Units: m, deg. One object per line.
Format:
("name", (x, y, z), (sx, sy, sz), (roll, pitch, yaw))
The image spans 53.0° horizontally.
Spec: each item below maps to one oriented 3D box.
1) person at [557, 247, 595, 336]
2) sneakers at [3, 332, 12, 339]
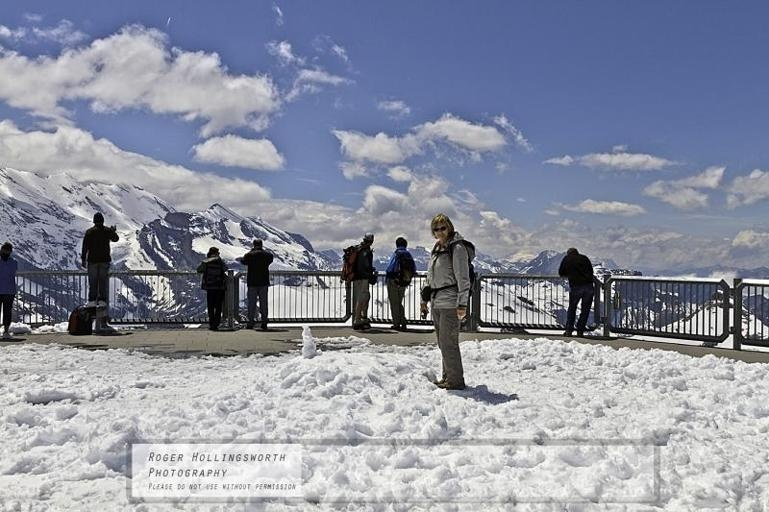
("person", (5.115, 0.999, 20.930), (0.904, 2.321, 0.912), (7, 16, 29))
("sneakers", (-9.866, 2.072, 20.141), (0.211, 0.111, 0.548), (-8, 16, -27))
